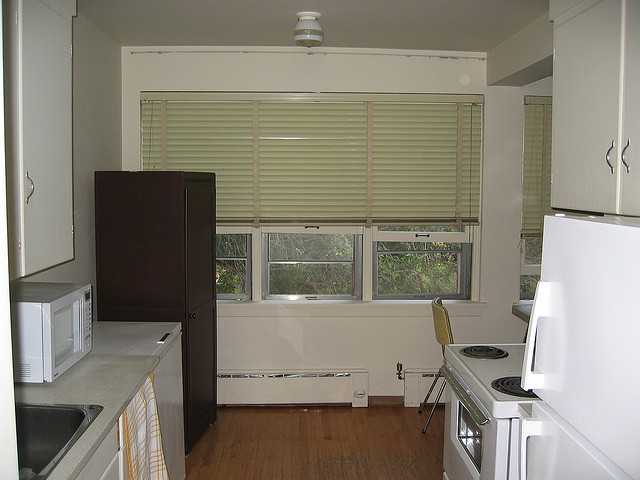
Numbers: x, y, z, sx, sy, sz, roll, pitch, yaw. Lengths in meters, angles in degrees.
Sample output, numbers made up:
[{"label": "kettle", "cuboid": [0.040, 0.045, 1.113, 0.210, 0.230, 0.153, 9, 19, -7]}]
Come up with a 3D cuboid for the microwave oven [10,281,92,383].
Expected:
[{"label": "microwave oven", "cuboid": [-1.229, 0.426, 2.438, 0.330, 0.343, 0.487, -1, 4, -4]}]

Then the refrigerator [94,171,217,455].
[{"label": "refrigerator", "cuboid": [-1.112, 0.464, 3.739, 0.661, 1.887, 0.579, 2, 10, 14]}]
